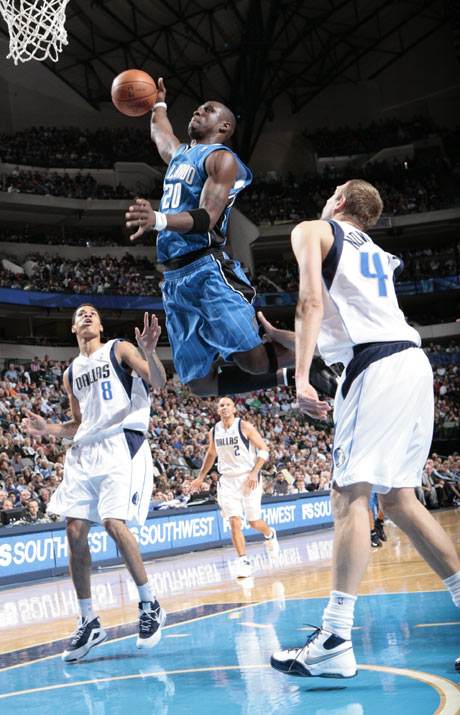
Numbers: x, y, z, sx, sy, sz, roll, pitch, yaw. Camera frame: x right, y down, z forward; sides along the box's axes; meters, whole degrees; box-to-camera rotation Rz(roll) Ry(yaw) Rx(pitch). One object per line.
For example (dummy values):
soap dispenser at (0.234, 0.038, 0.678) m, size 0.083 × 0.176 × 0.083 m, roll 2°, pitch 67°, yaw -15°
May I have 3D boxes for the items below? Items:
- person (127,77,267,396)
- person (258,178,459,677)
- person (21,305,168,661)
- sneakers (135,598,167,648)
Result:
person at (-0.173, -0.610, 3.225) m, size 0.701 × 1.674 × 1.536 m, roll -3°, pitch 12°, yaw -7°
person at (0.489, 0.294, 2.259) m, size 0.665 × 1.618 × 0.800 m, roll 0°, pitch 13°, yaw 4°
person at (-0.751, 0.678, 3.500) m, size 0.703 × 1.858 × 1.257 m, roll -6°, pitch 13°, yaw -19°
sneakers at (-0.411, 1.400, 3.201) m, size 0.110 × 0.178 × 0.294 m, roll -16°, pitch 12°, yaw 11°
